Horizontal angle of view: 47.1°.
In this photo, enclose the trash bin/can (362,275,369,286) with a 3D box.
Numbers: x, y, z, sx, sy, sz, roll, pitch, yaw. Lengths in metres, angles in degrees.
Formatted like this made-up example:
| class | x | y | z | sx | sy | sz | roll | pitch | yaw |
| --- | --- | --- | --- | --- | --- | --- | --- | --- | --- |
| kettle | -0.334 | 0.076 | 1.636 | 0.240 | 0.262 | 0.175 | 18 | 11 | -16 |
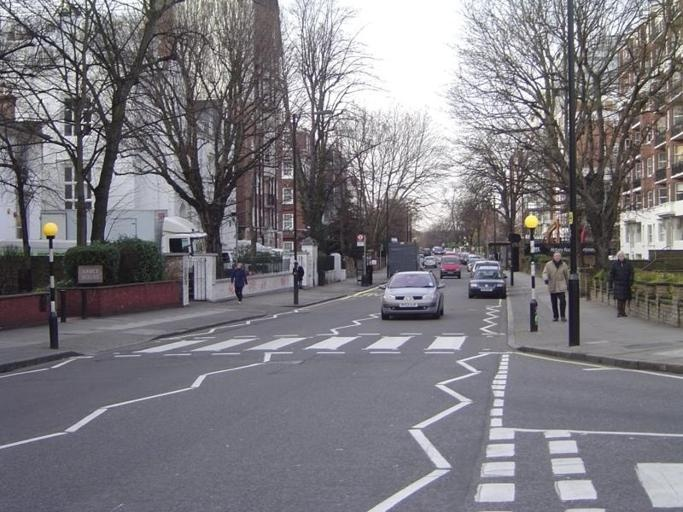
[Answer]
| class | x | y | z | sx | sy | sz | roll | pitch | yaw |
| --- | --- | --- | --- | --- | --- | --- | --- | --- | --- |
| trash bin/can | 1.769 | 1.684 | 55.620 | 0.516 | 0.757 | 0.592 | -1 | 3 | 3 |
